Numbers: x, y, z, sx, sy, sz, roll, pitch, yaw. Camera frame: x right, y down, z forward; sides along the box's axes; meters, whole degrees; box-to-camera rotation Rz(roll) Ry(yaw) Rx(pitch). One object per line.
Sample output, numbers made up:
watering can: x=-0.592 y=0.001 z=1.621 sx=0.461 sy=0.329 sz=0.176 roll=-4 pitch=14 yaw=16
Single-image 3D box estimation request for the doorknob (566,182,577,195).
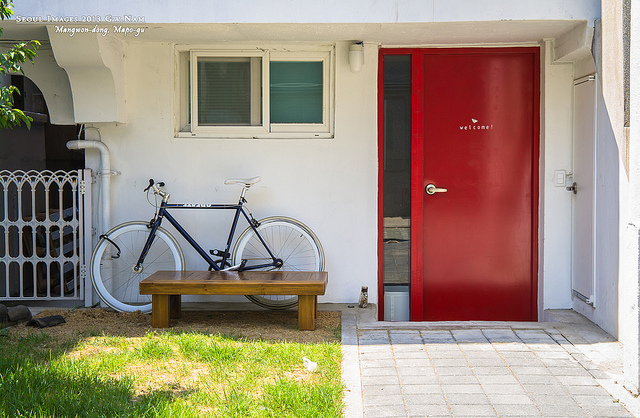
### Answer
doorknob: x=3.017 y=-0.262 z=7.026 sx=0.049 sy=0.148 sz=0.143 roll=-5 pitch=13 yaw=-25
